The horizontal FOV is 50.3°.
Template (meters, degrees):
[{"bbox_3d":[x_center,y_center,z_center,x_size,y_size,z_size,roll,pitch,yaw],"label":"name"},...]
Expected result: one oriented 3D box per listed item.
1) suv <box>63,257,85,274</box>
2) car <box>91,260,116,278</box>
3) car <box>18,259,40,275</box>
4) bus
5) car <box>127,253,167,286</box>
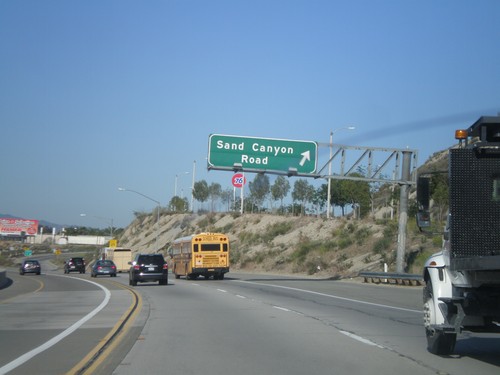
[{"bbox_3d":[-19.501,8.782,59.454,1.476,1.451,2.597,0,0,-14],"label":"suv"},{"bbox_3d":[-12.886,7.093,46.933,1.838,1.483,2.514,-1,-5,7],"label":"car"},{"bbox_3d":[-23.150,8.327,55.758,1.657,1.448,2.497,3,-6,-37],"label":"car"},{"bbox_3d":[-4.080,5.347,41.299,3.152,3.610,10.504,1,-6,-20],"label":"bus"},{"bbox_3d":[-6.093,4.844,31.517,2.339,1.858,1.612,-3,-5,31],"label":"car"}]
